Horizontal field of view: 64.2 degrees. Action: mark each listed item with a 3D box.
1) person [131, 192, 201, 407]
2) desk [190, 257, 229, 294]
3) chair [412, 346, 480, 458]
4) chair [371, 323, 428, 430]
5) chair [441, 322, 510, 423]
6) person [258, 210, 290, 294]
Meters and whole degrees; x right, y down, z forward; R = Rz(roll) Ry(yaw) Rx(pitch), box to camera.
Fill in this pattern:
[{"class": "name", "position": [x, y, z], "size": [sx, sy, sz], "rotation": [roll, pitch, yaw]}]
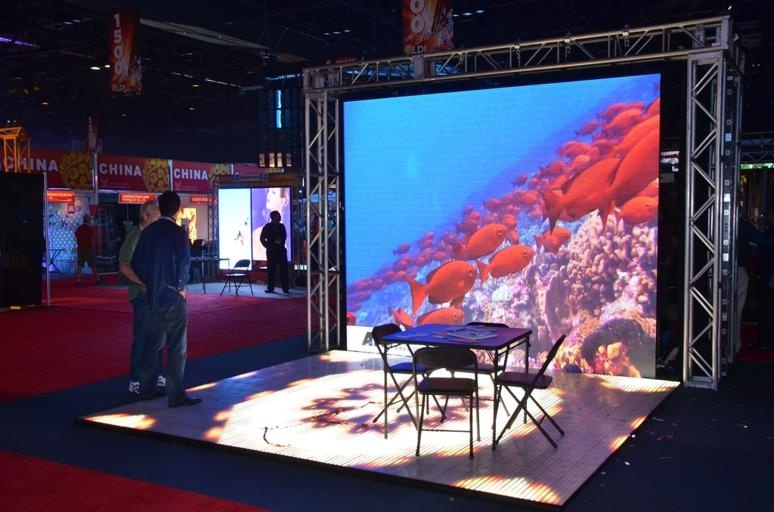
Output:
[{"class": "person", "position": [-2.665, 0.520, 7.436], "size": [0.730, 2.565, 0.445], "rotation": [4, 9, 27]}, {"class": "desk", "position": [-5.085, 0.635, 17.603], "size": [1.083, 1.087, 1.120], "rotation": [-1, 2, 25]}, {"class": "chair", "position": [0.658, 1.372, 6.993], "size": [0.786, 1.155, 1.751], "rotation": [1, 9, 8]}, {"class": "chair", "position": [0.123, 1.474, 7.234], "size": [0.850, 1.071, 0.807], "rotation": [-4, -16, 30]}, {"class": "chair", "position": [1.174, 1.175, 7.233], "size": [0.570, 1.053, 0.666], "rotation": [2, 8, 26]}, {"class": "person", "position": [-2.914, -0.112, 15.985], "size": [0.684, 2.069, 0.724], "rotation": [-2, 9, -12]}]
